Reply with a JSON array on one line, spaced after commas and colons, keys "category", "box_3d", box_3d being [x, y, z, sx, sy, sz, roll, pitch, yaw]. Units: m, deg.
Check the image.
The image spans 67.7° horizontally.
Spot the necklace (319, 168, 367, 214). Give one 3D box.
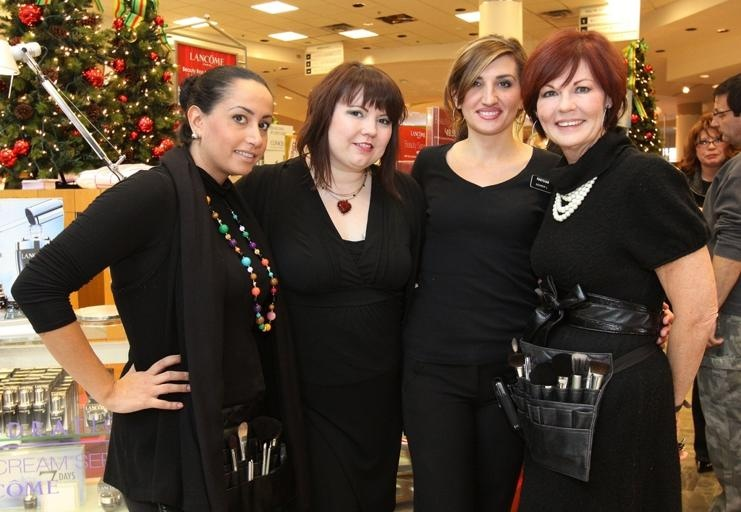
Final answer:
[{"category": "necklace", "box_3d": [-0.137, -0.304, 2.572, 0.225, 0.236, 0.027, 1, -2, -5]}]

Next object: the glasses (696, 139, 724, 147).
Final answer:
[{"category": "glasses", "box_3d": [2.585, -0.874, 4.224, 0.155, 0.046, 0.158, -2, 2, -1]}]
